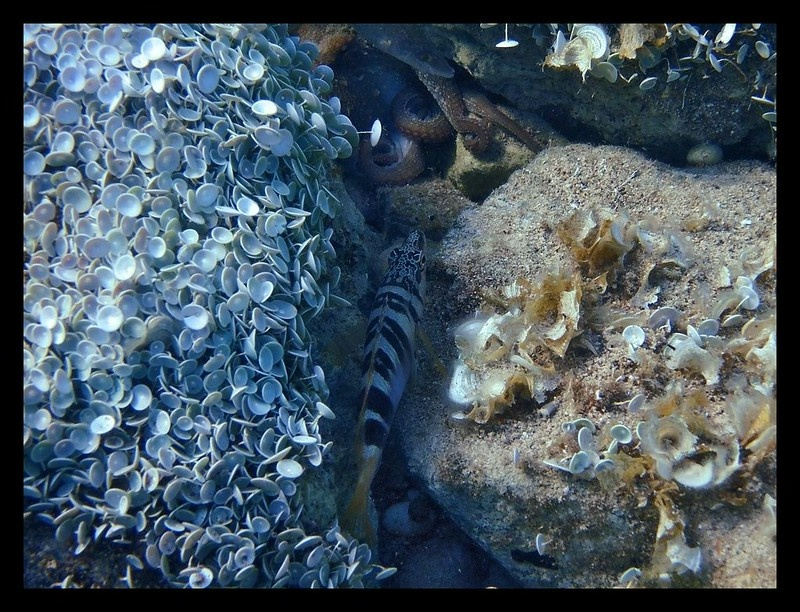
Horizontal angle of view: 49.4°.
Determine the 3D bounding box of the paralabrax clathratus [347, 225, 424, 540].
[{"bbox_3d":[-0.084,0.420,5.514,0.335,0.478,2.014,1,61,15],"label":"paralabrax clathratus"}]
